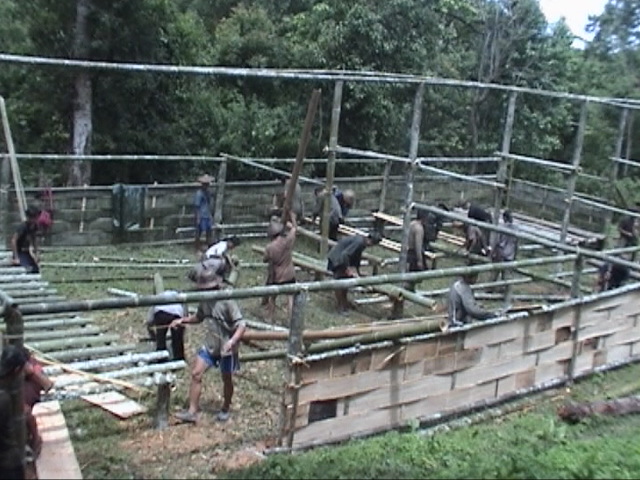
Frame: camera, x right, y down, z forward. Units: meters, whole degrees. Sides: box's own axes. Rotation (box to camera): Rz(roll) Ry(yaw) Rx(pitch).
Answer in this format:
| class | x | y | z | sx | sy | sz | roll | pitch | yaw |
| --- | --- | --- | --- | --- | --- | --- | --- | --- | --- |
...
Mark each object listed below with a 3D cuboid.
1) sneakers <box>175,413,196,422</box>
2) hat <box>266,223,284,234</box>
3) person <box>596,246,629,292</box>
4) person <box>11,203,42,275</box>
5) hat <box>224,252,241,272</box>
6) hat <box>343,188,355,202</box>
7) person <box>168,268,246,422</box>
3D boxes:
| class | x | y | z | sx | sy | sz | roll | pitch | yaw |
| --- | --- | --- | --- | --- | --- | --- | --- | --- | --- |
| sneakers | -1.904 | 2.554 | 10.238 | 0.311 | 0.153 | 0.117 | 15 | -7 | -14 |
| hat | -0.829 | -0.204 | 12.914 | 0.356 | 0.243 | 0.189 | 5 | 6 | 39 |
| person | 5.286 | 0.675 | 12.956 | 0.495 | 0.594 | 0.757 | 3 | 5 | 23 |
| person | -5.387 | -0.007 | 13.238 | 0.472 | 1.289 | 0.457 | -2 | 6 | -37 |
| hat | -1.482 | 0.425 | 12.818 | 0.246 | 0.375 | 0.349 | 3 | -8 | 25 |
| hat | 0.614 | -1.097 | 16.516 | 0.239 | 0.356 | 0.298 | -9 | -3 | 11 |
| person | -1.595 | 1.548 | 10.440 | 0.945 | 2.211 | 0.869 | 5 | 6 | 40 |
